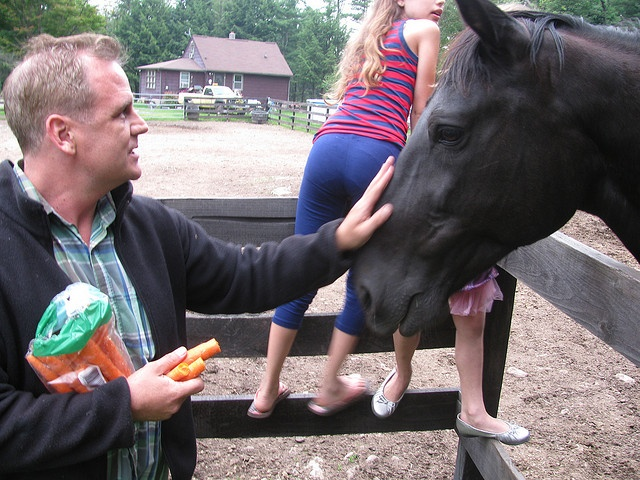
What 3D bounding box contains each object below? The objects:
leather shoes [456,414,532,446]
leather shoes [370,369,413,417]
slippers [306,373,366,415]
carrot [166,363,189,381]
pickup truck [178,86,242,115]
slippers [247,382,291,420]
[{"bbox_3d":[0.848,0.935,2.610,0.337,0.109,0.143,-2,10,25],"label":"leather shoes"},{"bbox_3d":[0.381,0.794,2.862,0.118,0.323,0.086,30,-2,2],"label":"leather shoes"},{"bbox_3d":[0.090,0.797,2.679,0.299,0.134,0.154,-27,32,-27],"label":"slippers"},{"bbox_3d":[-0.479,0.444,1.790,0.071,0.043,0.026,-28,-7,-7],"label":"carrot"},{"bbox_3d":[-6.360,-8.464,31.931,4.056,1.882,2.357,10,17,33],"label":"pickup truck"},{"bbox_3d":[-0.287,0.866,2.809,0.123,0.098,0.261,20,56,38],"label":"slippers"}]
